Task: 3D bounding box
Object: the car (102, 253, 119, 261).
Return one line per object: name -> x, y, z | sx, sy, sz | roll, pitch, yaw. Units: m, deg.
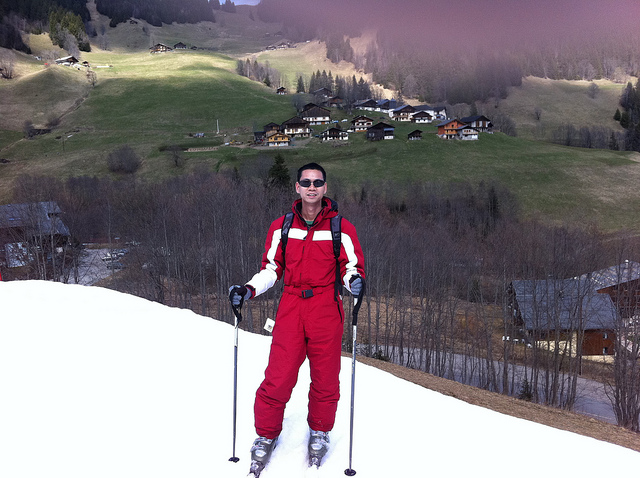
car -> -37.416, 3.063, 125.061 | 2.501, 1.062, 2.159 | -6, 8, -17
